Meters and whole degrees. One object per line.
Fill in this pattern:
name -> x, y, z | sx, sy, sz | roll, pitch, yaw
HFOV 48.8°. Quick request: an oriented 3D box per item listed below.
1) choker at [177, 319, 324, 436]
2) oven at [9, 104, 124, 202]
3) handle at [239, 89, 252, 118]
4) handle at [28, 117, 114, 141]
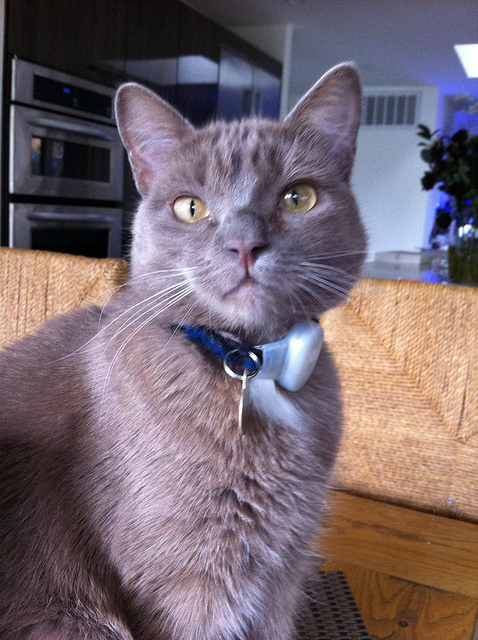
choker -> 0.014, 0.044, 0.491 | 0.119, 0.041, 0.092 | 13, 27, 42
oven -> -0.767, -0.720, 2.310 | 0.415, 0.306, 0.634 | 2, 5, 25
handle -> 0.034, -1.559, 3.776 | 0.060, 0.182, 0.124 | 8, 9, 17
handle -> -0.721, -0.836, 2.319 | 0.026, 0.064, 0.523 | 9, 9, 23
